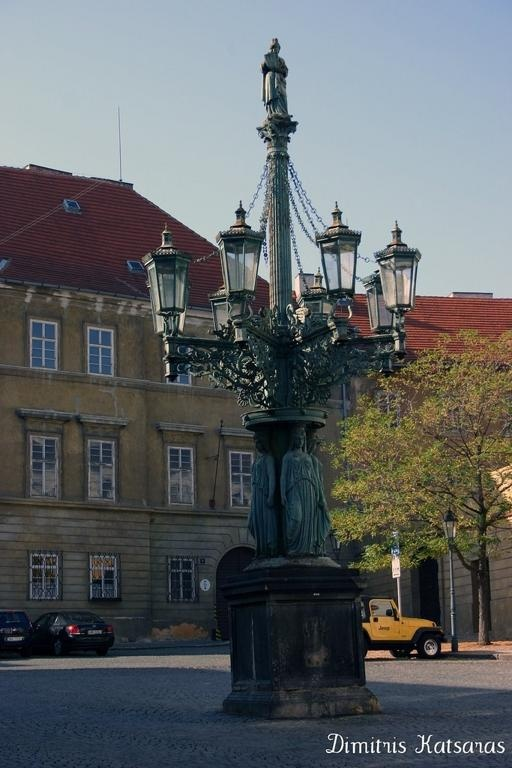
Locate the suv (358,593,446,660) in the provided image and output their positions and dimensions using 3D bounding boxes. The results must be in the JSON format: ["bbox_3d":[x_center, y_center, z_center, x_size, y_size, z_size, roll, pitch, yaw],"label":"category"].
[{"bbox_3d":[2.496,4.852,31.123,2.449,1.261,1.263,0,-12,-12],"label":"suv"}]

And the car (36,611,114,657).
[{"bbox_3d":[-4.096,5.453,34.550,0.870,0.618,2.004,5,-9,-30],"label":"car"}]
